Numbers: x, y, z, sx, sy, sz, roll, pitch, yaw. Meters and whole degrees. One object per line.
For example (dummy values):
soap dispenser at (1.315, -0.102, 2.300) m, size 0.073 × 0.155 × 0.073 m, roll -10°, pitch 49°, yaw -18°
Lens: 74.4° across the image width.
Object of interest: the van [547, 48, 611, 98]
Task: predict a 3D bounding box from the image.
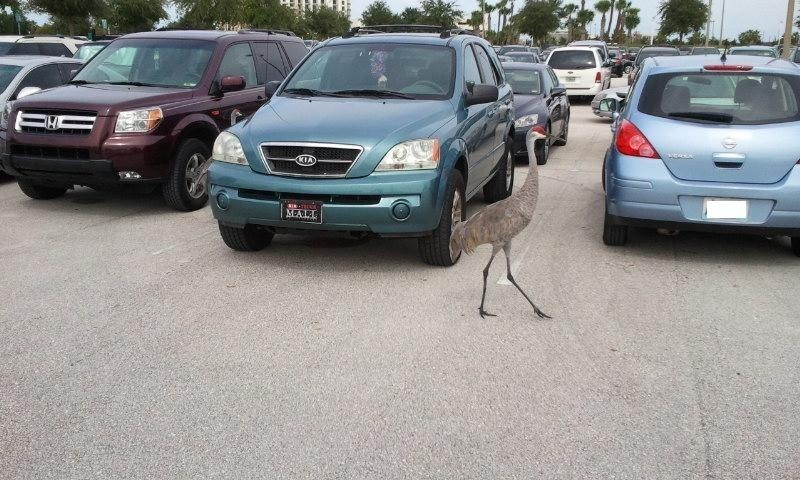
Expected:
van at (7.696, -7.334, 22.800) m, size 2.200 × 1.834 × 4.719 m, roll 3°, pitch 15°, yaw 20°

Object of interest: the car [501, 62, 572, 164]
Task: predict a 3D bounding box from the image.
car at (3.154, -3.228, 12.912) m, size 2.167 × 1.555 × 3.900 m, roll 4°, pitch 15°, yaw 20°

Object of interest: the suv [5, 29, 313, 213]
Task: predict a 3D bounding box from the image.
suv at (-3.869, -2.449, 9.687) m, size 2.813 × 2.122 × 5.036 m, roll 5°, pitch 19°, yaw 22°

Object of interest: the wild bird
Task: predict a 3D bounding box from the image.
wild bird at (1.076, -0.210, 5.690) m, size 0.985 × 1.739 × 1.467 m, roll 2°, pitch 25°, yaw 5°

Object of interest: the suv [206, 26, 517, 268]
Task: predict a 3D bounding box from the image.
suv at (-0.271, -1.382, 7.019) m, size 2.822 × 2.626 × 3.724 m, roll 11°, pitch 27°, yaw 22°
